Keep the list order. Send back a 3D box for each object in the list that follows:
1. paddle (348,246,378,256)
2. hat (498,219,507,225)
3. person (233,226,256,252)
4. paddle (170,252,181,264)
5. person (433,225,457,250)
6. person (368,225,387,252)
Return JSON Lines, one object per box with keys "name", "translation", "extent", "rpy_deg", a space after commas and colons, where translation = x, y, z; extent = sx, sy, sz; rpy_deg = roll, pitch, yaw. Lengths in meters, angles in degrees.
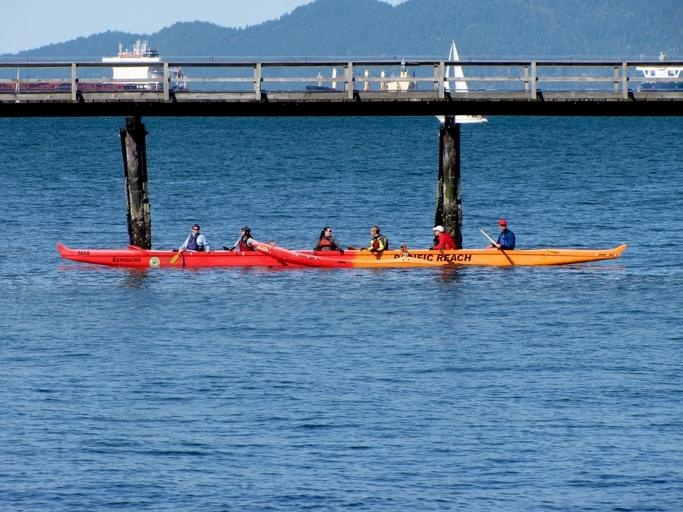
{"name": "paddle", "translation": [1.016, -0.166, 99.436], "extent": [1.172, 0.230, 0.584], "rpy_deg": [3, 1, -2]}
{"name": "hat", "translation": [7.857, -1.534, 99.075], "extent": [0.504, 0.371, 0.714], "rpy_deg": [0, 3, 9]}
{"name": "person", "translation": [-4.731, -0.723, 99.519], "extent": [0.877, 1.245, 1.658], "rpy_deg": [-1, 11, -3]}
{"name": "paddle", "translation": [-8.078, 0.213, 99.393], "extent": [0.253, 0.879, 0.139], "rpy_deg": [37, 4, 3]}
{"name": "person", "translation": [5.080, -0.760, 99.530], "extent": [1.079, 1.059, 1.153], "rpy_deg": [0, 11, 2]}
{"name": "person", "translation": [1.840, -0.693, 99.097], "extent": [0.821, 1.307, 0.575], "rpy_deg": [-2, 12, -10]}
